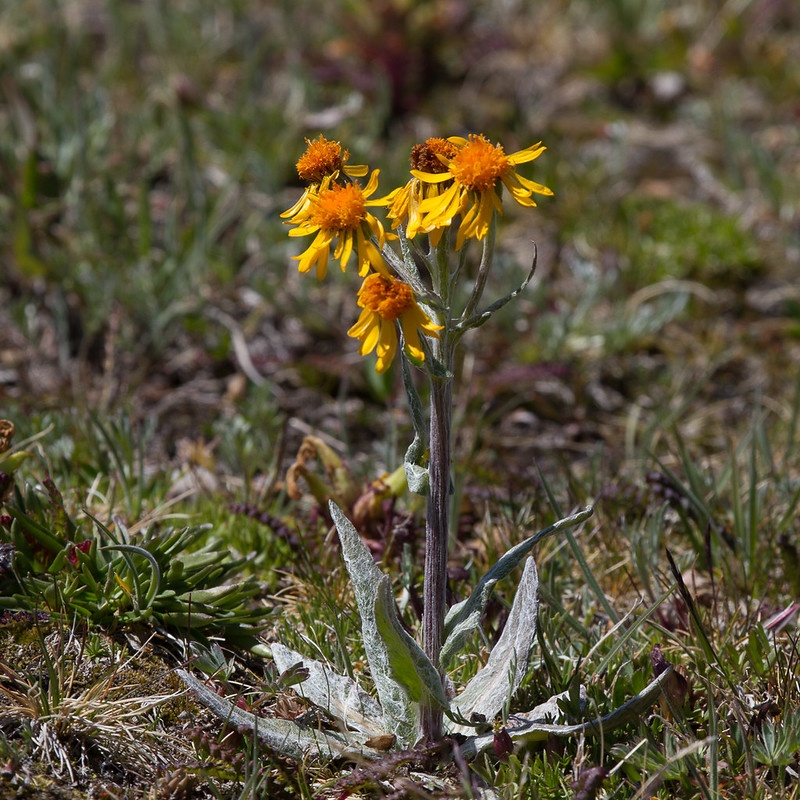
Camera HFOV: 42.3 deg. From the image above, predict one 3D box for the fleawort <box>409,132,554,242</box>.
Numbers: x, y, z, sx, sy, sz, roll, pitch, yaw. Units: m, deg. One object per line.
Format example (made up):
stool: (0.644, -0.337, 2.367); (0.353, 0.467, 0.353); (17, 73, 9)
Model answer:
fleawort: (0.145, -0.384, 1.820); (0.238, 0.142, 0.248); (-5, 72, -3)

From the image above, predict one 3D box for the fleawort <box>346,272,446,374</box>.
fleawort: (-0.012, -0.142, 1.817); (0.154, 0.160, 0.064); (5, 57, -8)

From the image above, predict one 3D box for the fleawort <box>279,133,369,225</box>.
fleawort: (-0.119, -0.422, 1.886); (0.126, 0.130, 0.073); (-36, 106, -23)

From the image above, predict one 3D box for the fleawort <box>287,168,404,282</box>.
fleawort: (-0.102, -0.294, 1.879); (0.188, 0.203, 0.206); (2, 71, -1)

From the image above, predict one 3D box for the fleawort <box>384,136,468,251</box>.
fleawort: (0.031, -0.367, 1.862); (0.173, 0.163, 0.199); (-5, 99, -13)
